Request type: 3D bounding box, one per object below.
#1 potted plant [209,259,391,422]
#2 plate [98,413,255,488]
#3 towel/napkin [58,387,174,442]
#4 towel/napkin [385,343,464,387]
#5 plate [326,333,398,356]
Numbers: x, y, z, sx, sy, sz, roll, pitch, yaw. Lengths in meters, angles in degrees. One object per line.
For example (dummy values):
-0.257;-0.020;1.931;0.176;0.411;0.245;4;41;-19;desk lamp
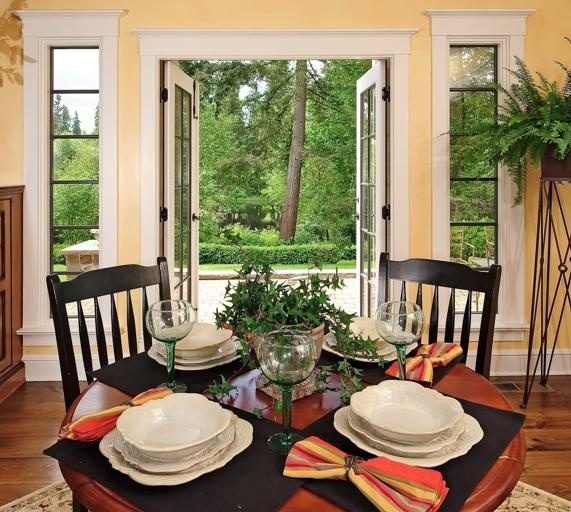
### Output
0.014;0.186;1.340;0.459;0.303;0.340;4;4;39;potted plant
-0.183;0.359;0.985;0.142;0.019;0.143;9;11;41;plate
-0.354;0.334;1.140;0.085;0.048;0.295;4;11;38;towel/napkin
0.392;0.312;1.424;0.121;0.026;0.191;-3;6;30;towel/napkin
0.216;0.250;1.409;0.118;0.018;0.115;0;0;-38;plate
